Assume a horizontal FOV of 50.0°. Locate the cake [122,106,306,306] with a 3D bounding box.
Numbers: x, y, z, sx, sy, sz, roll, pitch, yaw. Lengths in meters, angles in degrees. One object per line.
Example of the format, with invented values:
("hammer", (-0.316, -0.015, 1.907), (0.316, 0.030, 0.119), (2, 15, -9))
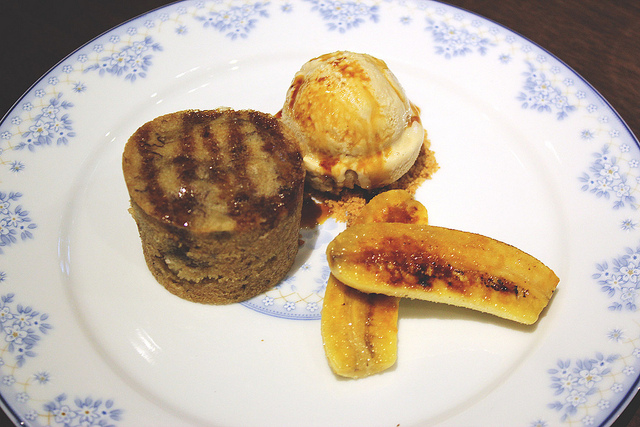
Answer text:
("cake", (-0.655, 0.017, 4.278), (0.945, 0.943, 1.185), (-14, -60, -22))
